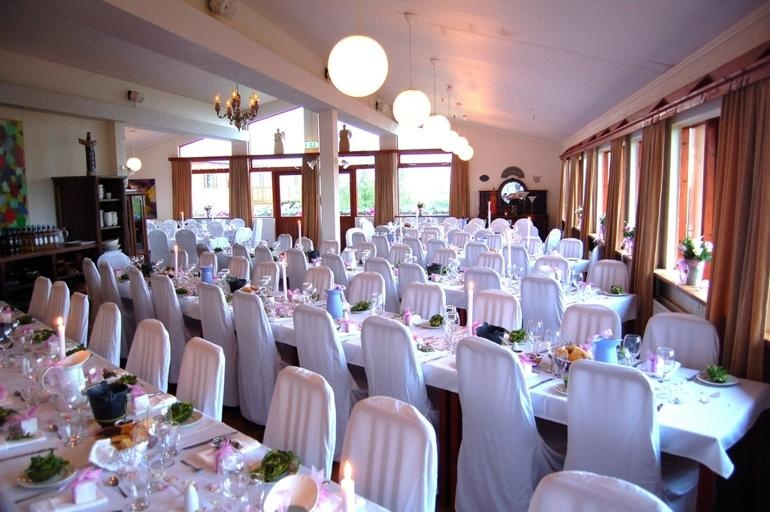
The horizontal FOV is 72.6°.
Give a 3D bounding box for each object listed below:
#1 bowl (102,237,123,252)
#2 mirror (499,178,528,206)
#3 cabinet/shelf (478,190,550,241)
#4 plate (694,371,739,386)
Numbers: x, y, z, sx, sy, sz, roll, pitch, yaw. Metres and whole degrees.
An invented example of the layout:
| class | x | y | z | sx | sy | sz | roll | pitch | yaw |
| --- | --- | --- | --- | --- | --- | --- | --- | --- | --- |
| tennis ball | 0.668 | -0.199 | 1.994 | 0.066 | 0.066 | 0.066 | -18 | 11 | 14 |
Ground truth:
| class | x | y | z | sx | sy | sz | roll | pitch | yaw |
| --- | --- | --- | --- | --- | --- | --- | --- | --- | --- |
| bowl | -4.661 | -0.168 | 8.928 | 0.309 | 0.193 | 0.289 | -11 | 4 | 1 |
| mirror | 3.454 | -1.785 | 14.130 | 0.660 | 0.722 | 0.143 | 14 | 3 | 16 |
| cabinet/shelf | 3.281 | -1.007 | 12.965 | 1.451 | 1.544 | 0.529 | 1 | 0 | 15 |
| plate | 2.462 | 0.909 | 3.877 | 0.285 | 0.053 | 0.182 | 4 | 8 | 31 |
